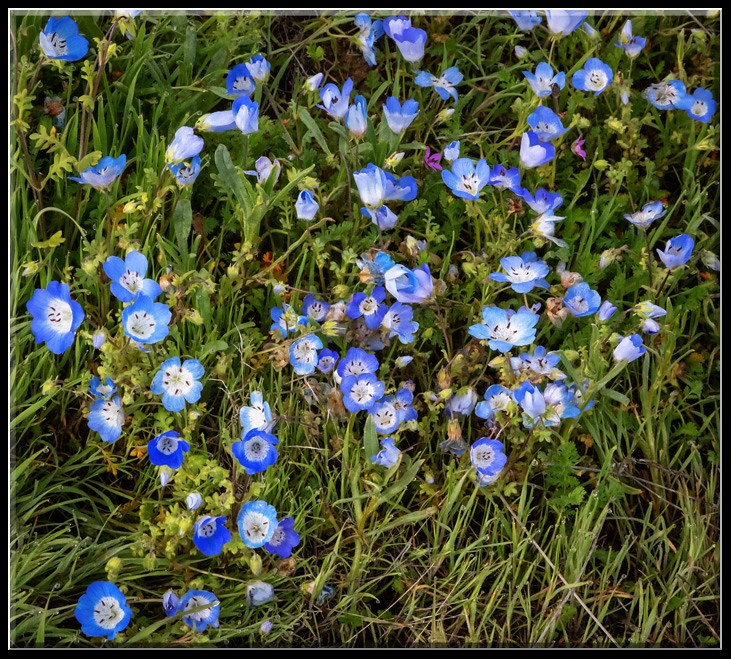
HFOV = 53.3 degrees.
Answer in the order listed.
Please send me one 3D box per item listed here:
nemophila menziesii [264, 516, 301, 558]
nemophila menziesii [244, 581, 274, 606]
[{"bbox_3d":[-0.204,0.489,1.770,0.087,0.091,0.047,38,-1,-17],"label":"nemophila menziesii"},{"bbox_3d":[-0.249,0.624,1.713,0.058,0.054,0.031,31,6,-23],"label":"nemophila menziesii"}]
